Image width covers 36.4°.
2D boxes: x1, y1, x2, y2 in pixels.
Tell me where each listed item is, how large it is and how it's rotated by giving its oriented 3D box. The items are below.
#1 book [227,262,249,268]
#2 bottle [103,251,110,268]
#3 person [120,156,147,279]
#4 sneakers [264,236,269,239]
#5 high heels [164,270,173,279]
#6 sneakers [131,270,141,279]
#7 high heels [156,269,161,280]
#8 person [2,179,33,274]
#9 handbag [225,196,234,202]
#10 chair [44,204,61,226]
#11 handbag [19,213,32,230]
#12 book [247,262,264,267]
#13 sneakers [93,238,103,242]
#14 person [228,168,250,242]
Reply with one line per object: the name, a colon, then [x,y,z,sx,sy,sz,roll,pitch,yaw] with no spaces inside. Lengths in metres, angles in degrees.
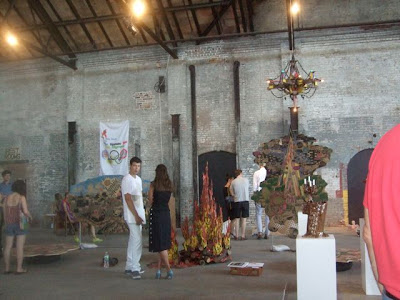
book: [0.968,2.867,15.243,0.512,0.115,0.449,-1,-7,8]
bottle: [-2.448,2.865,15.945,0.154,0.393,0.247,1,-6,-9]
person: [-1.649,1.670,15.125,0.519,2.967,0.380,-2,-6,17]
sneakers: [2.011,2.654,18.530,0.114,0.090,0.066,-8,-11,43]
high heels: [-0.741,3.044,14.936,0.149,0.099,0.308,7,-21,0]
sneakers: [-1.581,3.079,15.137,0.245,0.205,0.361,1,-6,-6]
high heels: [-1.023,3.055,14.995,0.143,0.212,0.451,-1,-10,-3]
person: [-4.635,1.944,15.486,0.670,2.343,0.462,1,-6,-11]
handbag: [0.879,1.468,18.311,0.221,0.181,0.131,-7,-30,17]
chair: [-5.191,2.294,21.454,0.470,0.837,0.532,0,-3,5]
handbag: [-4.441,1.812,15.604,0.190,0.430,0.513,0,-6,-1]
book: [1.393,2.880,15.305,0.377,0.105,0.633,-1,-7,11]
sneakers: [-3.157,2.779,18.856,0.306,0.143,0.116,6,-7,-2]
person: [1.174,1.640,18.329,0.535,2.086,0.529,0,-6,3]
